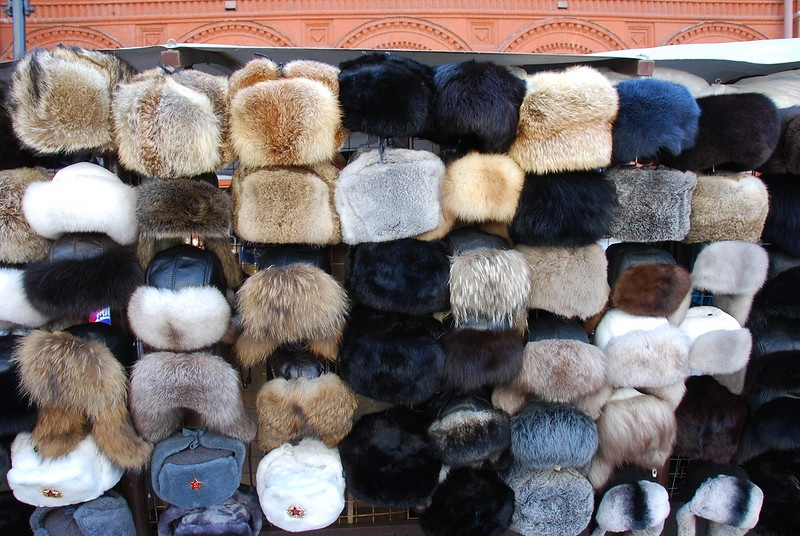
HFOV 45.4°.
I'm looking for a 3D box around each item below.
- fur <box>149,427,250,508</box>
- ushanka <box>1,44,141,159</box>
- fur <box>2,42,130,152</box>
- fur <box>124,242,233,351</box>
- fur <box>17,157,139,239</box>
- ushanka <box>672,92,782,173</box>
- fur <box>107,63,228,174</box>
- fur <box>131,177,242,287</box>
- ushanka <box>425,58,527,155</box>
[{"bbox_3d":[-1.194,1.165,5.904,0.569,0.315,0.750,-6,11,1],"label":"fur"},{"bbox_3d":[-1.869,-0.978,5.624,0.507,0.525,0.698,9,7,43],"label":"ushanka"},{"bbox_3d":[-1.927,-0.968,5.517,0.689,0.552,0.504,-7,13,-31],"label":"fur"},{"bbox_3d":[-1.311,0.173,5.822,0.583,0.429,0.767,1,34,-1],"label":"fur"},{"bbox_3d":[-1.844,-0.297,5.729,0.618,0.405,0.463,3,-13,-15],"label":"fur"},{"bbox_3d":[1.875,-0.834,5.929,0.747,0.435,0.564,-3,11,-14],"label":"ushanka"},{"bbox_3d":[-1.322,-0.820,5.548,0.662,0.492,0.496,-2,10,3],"label":"fur"},{"bbox_3d":[-1.293,-0.220,5.894,0.715,0.709,0.731,5,16,3],"label":"fur"},{"bbox_3d":[0.450,-0.926,5.595,0.438,0.478,0.592,2,14,-2],"label":"ushanka"}]
